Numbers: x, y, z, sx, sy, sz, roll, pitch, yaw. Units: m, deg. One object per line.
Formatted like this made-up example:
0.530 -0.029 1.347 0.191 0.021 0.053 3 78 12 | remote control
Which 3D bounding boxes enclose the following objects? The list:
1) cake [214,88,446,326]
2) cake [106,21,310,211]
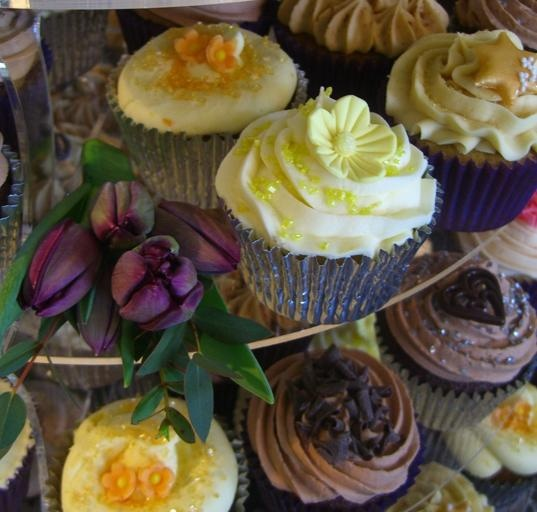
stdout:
0.066 -0.128 0.989 0.331 0.317 0.371 -2 59 -5 | cake
-0.108 -0.241 1.139 0.336 0.235 0.321 -15 45 -19 | cake
